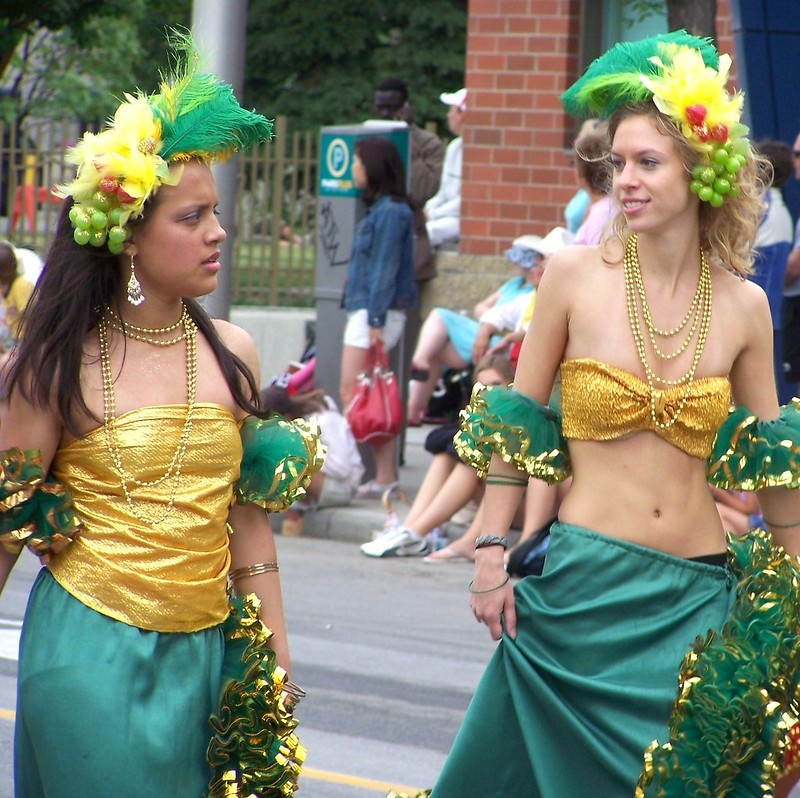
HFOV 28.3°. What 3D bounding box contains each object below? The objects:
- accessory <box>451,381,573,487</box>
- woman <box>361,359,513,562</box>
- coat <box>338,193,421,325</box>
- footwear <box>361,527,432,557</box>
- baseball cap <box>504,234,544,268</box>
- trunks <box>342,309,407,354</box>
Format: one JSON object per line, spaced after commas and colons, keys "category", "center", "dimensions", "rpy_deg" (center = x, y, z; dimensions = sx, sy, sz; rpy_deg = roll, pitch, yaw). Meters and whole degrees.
{"category": "accessory", "center": [0.302, 0.137, 4.007], "dimensions": [0.257, 0.152, 0.256], "rpy_deg": [24, 4, -37]}
{"category": "woman", "center": [0.334, 0.422, 8.217], "dimensions": [1.015, 1.176, 0.666], "rpy_deg": [-1, 7, -9]}
{"category": "coat", "center": [-0.174, -0.604, 8.720], "dimensions": [0.532, 0.934, 0.932], "rpy_deg": [3, 1, 2]}
{"category": "footwear", "center": [-0.026, 0.745, 8.161], "dimensions": [0.295, 0.120, 0.161], "rpy_deg": [1, -8, -8]}
{"category": "baseball cap", "center": [0.699, -0.848, 8.830], "dimensions": [0.204, 0.059, 0.209], "rpy_deg": [9, -24, 12]}
{"category": "trunks", "center": [-0.145, -0.362, 8.583], "dimensions": [0.217, 0.216, 0.272], "rpy_deg": [-1, 4, 14]}
